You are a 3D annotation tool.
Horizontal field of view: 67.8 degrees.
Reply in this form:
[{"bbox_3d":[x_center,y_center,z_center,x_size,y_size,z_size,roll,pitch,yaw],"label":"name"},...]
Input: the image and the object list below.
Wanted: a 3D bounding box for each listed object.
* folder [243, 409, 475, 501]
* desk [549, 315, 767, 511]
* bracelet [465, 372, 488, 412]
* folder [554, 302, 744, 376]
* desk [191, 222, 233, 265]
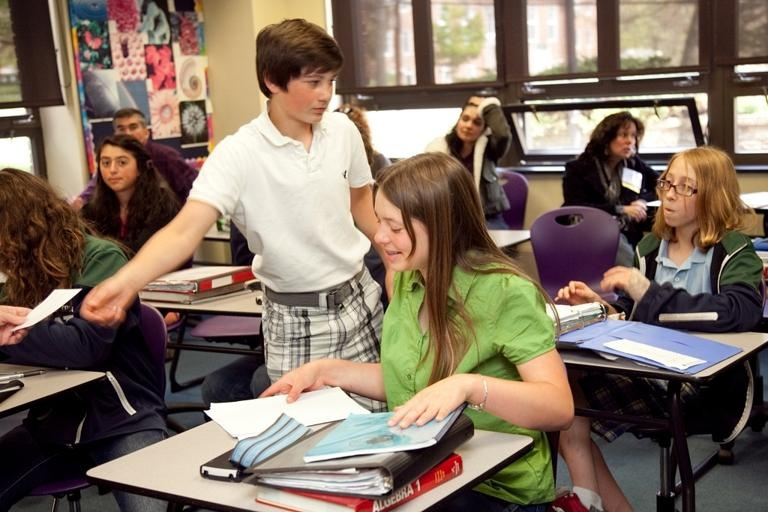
[{"bbox_3d":[-0.070,0.475,1.430,0.481,0.097,0.499,-11,-4,-43],"label":"folder"},{"bbox_3d":[1.030,0.577,2.236,0.709,0.711,0.775,0,5,39],"label":"desk"},{"bbox_3d":[0.229,0.351,1.436,0.027,0.076,0.058,-3,5,-5],"label":"bracelet"},{"bbox_3d":[0.931,0.295,2.109,0.441,0.123,0.569,-7,5,-33],"label":"folder"},{"bbox_3d":[-1.288,-0.088,4.358,0.354,0.331,0.257,0,6,13],"label":"desk"}]
